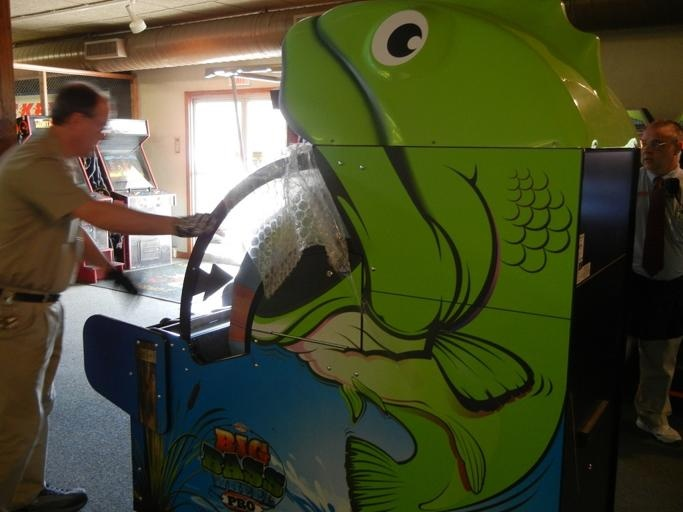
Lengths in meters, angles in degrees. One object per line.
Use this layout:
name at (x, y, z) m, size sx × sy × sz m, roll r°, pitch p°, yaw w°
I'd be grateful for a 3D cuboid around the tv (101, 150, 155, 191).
tv at (-3.031, -1.187, 7.793) m, size 0.562 × 0.660 × 0.139 m, roll -12°, pitch -5°, yaw -45°
